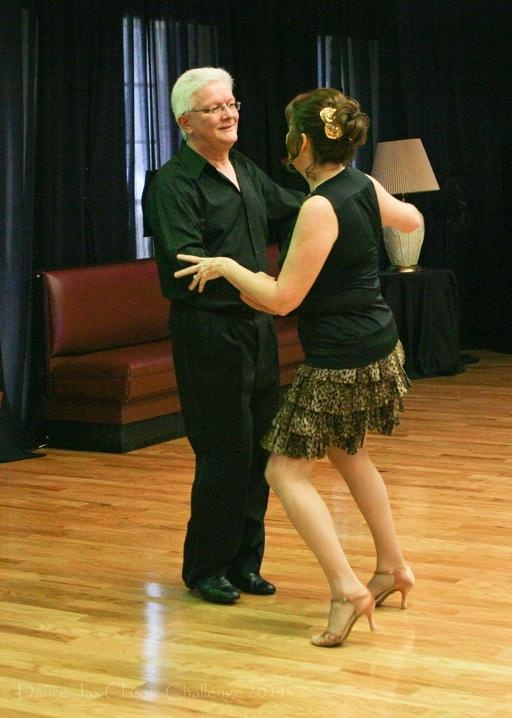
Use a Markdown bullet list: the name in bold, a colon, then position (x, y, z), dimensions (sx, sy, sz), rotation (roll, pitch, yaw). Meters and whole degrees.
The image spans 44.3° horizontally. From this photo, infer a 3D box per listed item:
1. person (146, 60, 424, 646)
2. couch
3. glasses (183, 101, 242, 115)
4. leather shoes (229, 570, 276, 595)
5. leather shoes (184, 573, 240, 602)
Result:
- **person**: position (0.121, -0.084, 1.482), dimensions (0.613, 1.528, 0.534), rotation (-1, -5, -7)
- **couch**: position (-0.561, -0.124, 4.922), dimensions (0.737, 1.202, 2.257), rotation (9, 13, 29)
- **glasses**: position (-0.123, -0.655, 1.645), dimensions (0.078, 0.018, 0.056), rotation (-4, 12, 11)
- **leather shoes**: position (-0.010, 0.688, 1.922), dimensions (0.143, 0.052, 0.052), rotation (-2, 6, 38)
- **leather shoes**: position (-0.129, 0.671, 1.886), dimensions (0.062, 0.060, 0.163), rotation (-5, 1, -38)
